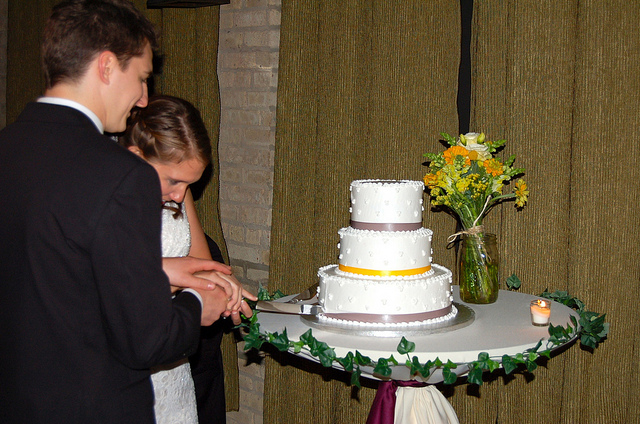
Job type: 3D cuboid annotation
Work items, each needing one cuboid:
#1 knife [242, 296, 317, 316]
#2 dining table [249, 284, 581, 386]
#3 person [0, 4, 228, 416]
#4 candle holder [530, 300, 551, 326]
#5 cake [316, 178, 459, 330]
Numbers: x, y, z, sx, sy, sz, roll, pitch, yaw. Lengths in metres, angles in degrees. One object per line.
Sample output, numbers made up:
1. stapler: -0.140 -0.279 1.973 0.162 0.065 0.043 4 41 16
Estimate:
1. knife: -0.189 0.444 2.604 0.452 0.070 0.074 3 -20 13
2. dining table: 0.469 0.567 2.432 1.532 0.392 0.595 -2 0 -9
3. person: -0.806 0.002 2.041 0.785 1.335 0.388 -2 0 -12
4. candle holder: 0.979 0.452 2.455 0.114 0.100 0.119 2 0 33
5. cake: 0.270 0.149 2.610 0.621 0.599 0.623 0 3 0
